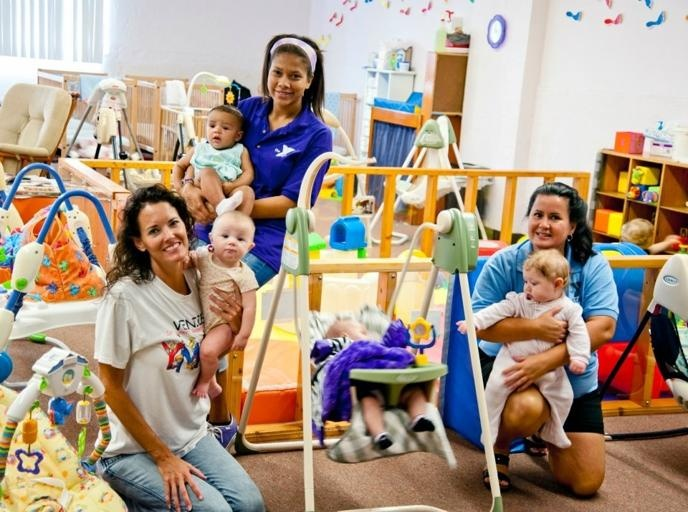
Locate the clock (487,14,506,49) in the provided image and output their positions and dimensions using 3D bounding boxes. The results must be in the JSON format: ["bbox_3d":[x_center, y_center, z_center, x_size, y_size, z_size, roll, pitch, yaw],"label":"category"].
[{"bbox_3d":[1.771,-2.644,6.465,0.283,0.314,0.296,-1,10,-15],"label":"clock"}]

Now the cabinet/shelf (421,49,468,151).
[{"bbox_3d":[1.282,-2.051,7.039,0.575,1.158,0.196,0,9,-17],"label":"cabinet/shelf"}]

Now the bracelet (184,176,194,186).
[{"bbox_3d":[-0.631,-0.310,2.246,0.033,0.018,0.048,16,-30,5],"label":"bracelet"}]

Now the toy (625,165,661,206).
[{"bbox_3d":[2.640,-0.627,4.838,0.235,0.327,0.218,7,9,24],"label":"toy"}]

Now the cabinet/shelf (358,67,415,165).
[{"bbox_3d":[0.589,-2.136,7.848,0.520,1.311,1.182,-4,11,-38],"label":"cabinet/shelf"}]

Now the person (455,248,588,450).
[{"bbox_3d":[0.755,0.373,2.217,0.436,0.813,0.270,7,9,23],"label":"person"}]
